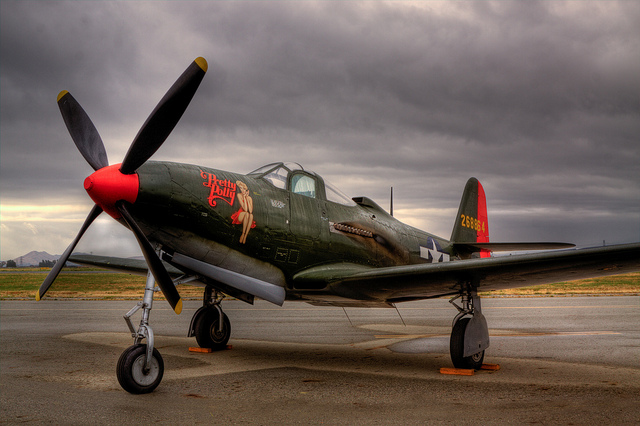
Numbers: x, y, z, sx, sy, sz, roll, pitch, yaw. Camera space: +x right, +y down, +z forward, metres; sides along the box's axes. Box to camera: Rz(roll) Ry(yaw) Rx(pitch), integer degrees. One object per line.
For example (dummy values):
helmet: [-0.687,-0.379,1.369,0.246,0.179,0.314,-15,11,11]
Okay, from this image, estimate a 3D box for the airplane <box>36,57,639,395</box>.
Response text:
airplane: [-0.049,0.499,9.033,6.595,3.094,8.757,12,-13,-44]
